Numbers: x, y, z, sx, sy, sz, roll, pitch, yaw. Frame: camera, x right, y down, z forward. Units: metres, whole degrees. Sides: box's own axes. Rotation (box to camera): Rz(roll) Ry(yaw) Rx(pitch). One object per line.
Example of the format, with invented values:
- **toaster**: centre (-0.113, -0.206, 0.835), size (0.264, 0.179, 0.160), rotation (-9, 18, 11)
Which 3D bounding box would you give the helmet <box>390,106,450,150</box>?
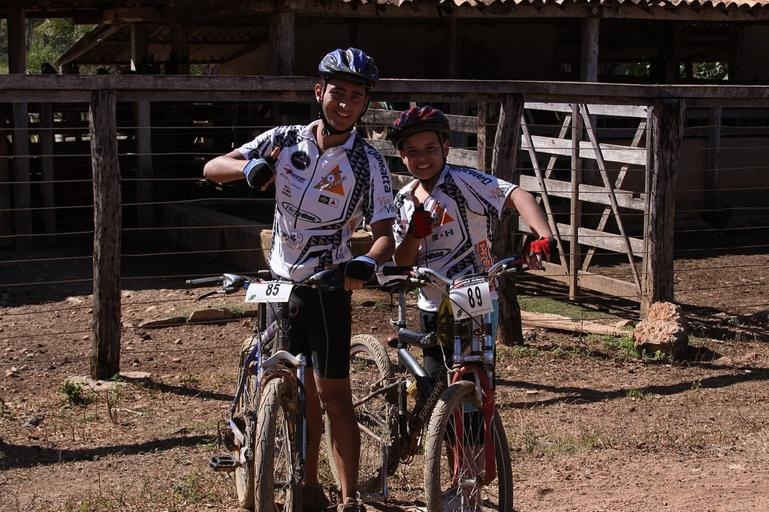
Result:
- **helmet**: centre (0.277, -1.046, 7.058), size (0.471, 0.343, 0.195), rotation (1, 8, 0)
